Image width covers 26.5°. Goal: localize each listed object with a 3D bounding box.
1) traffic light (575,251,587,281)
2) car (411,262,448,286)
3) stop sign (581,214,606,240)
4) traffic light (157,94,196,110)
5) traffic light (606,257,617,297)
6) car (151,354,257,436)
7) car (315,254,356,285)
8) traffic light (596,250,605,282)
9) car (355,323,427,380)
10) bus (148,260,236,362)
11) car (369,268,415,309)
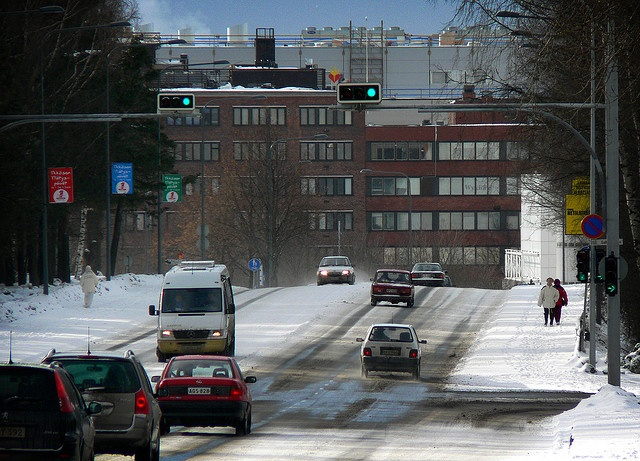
[{"bbox_3d":[10.144,1.497,52.771,0.447,1.336,0.758,-1,3,13],"label":"traffic light"},{"bbox_3d":[6.427,2.969,81.545,1.917,1.235,1.961,-2,3,0],"label":"car"},{"bbox_3d":[10.594,-0.001,53.220,0.795,0.991,0.945,-1,3,11],"label":"stop sign"},{"bbox_3d":[-5.689,-4.982,53.785,1.363,0.681,0.926,-3,3,-11],"label":"traffic light"},{"bbox_3d":[10.888,1.843,51.091,0.485,1.561,0.333,-1,3,10],"label":"traffic light"},{"bbox_3d":[-4.112,5.905,47.820,3.318,2.680,5.971,1,-4,-2],"label":"car"},{"bbox_3d":[0.880,2.705,82.964,2.186,1.564,2.455,-2,3,-1],"label":"car"},{"bbox_3d":[10.567,1.507,51.556,0.320,1.133,0.651,-1,3,12],"label":"traffic light"},{"bbox_3d":[2.798,4.970,54.329,2.309,2.124,0.942,-2,3,-1],"label":"car"},{"bbox_3d":[-5.373,3.592,57.685,3.152,3.991,6.840,0,0,-1],"label":"bus"},{"bbox_3d":[3.709,3.188,70.395,2.142,1.991,1.652,-2,3,1],"label":"car"}]
